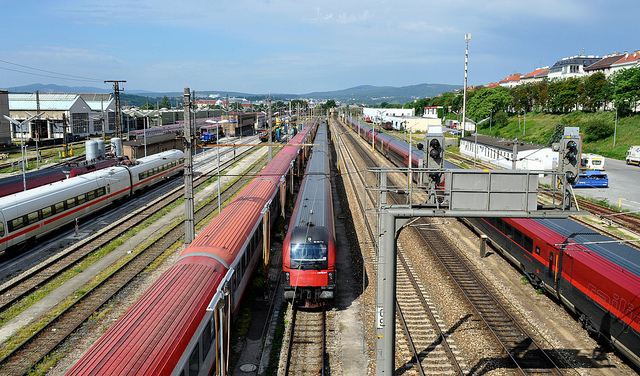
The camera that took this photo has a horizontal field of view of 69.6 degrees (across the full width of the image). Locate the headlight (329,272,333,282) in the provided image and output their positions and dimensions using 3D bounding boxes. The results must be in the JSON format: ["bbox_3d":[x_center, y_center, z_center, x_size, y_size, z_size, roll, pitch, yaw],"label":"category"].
[{"bbox_3d":[0.701,5.648,29.172,0.203,0.588,0.140,-1,15,-2],"label":"headlight"}]

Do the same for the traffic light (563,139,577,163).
[{"bbox_3d":[12.397,-1.848,22.823,0.596,1.117,0.192,7,16,27],"label":"traffic light"}]

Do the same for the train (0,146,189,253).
[{"bbox_3d":[-20.504,1.261,42.992,3.134,4.676,23.846,9,20,17],"label":"train"}]

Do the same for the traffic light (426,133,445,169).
[{"bbox_3d":[5.709,-1.838,22.860,0.861,1.701,0.622,1,15,6],"label":"traffic light"}]

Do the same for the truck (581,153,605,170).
[{"bbox_3d":[33.391,-3.062,56.372,1.847,1.518,2.943,2,14,13],"label":"truck"}]
